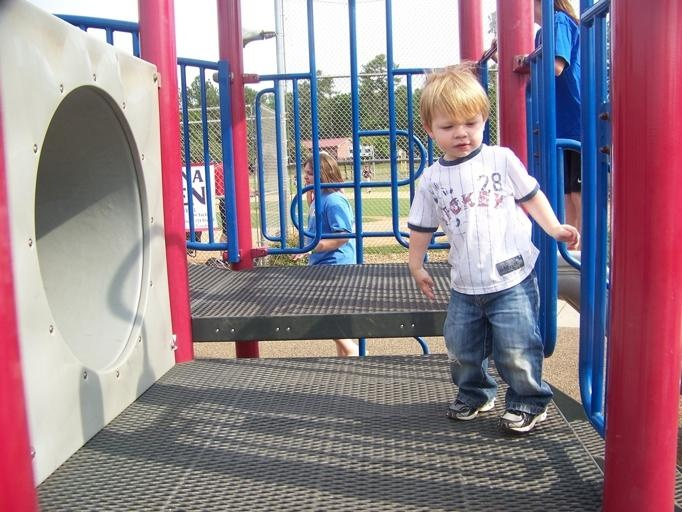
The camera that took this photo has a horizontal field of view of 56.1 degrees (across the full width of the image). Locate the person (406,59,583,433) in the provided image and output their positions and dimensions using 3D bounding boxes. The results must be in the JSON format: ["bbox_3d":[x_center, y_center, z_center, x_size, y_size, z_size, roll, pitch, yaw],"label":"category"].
[{"bbox_3d":[0.425,-0.047,1.882,0.342,1.004,0.460,-6,13,-20],"label":"person"}]

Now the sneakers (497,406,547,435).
[{"bbox_3d":[0.496,0.461,1.777,0.134,0.072,0.055,-4,23,-10],"label":"sneakers"}]

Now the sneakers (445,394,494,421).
[{"bbox_3d":[0.387,0.443,1.912,0.138,0.071,0.057,-2,22,-41],"label":"sneakers"}]

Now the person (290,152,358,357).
[{"bbox_3d":[-0.037,0.002,4.032,0.323,1.280,1.101,-2,13,-3],"label":"person"}]
